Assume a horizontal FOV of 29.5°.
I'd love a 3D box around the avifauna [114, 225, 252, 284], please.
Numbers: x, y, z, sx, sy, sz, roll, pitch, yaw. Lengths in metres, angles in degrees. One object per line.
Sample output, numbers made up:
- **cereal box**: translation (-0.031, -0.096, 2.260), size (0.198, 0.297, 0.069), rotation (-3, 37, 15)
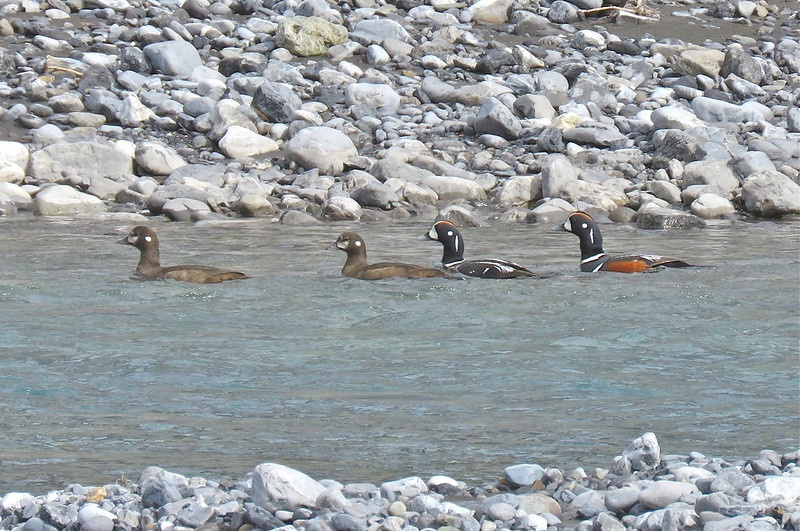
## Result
- **avifauna**: translation (-3.623, -0.185, 24.556), size (1.879, 0.874, 0.876), rotation (4, 7, 44)
